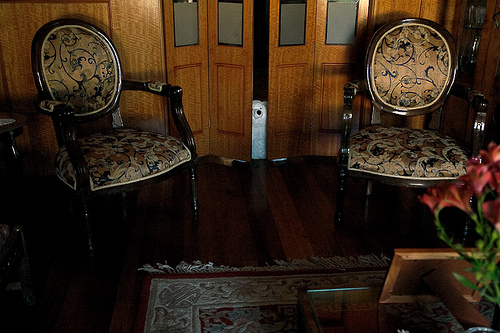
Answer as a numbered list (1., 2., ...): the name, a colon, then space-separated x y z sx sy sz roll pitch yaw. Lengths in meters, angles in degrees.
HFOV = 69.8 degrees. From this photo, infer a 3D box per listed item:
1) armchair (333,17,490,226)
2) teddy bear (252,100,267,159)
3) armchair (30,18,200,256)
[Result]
1. armchair: 0.868 -0.199 1.923 0.755 0.960 0.781 -26 39 -35
2. teddy bear: 0.066 -0.264 2.657 0.124 0.455 0.041 -4 20 -4
3. armchair: -0.728 -0.171 1.933 0.825 1.036 0.793 6 29 -5
